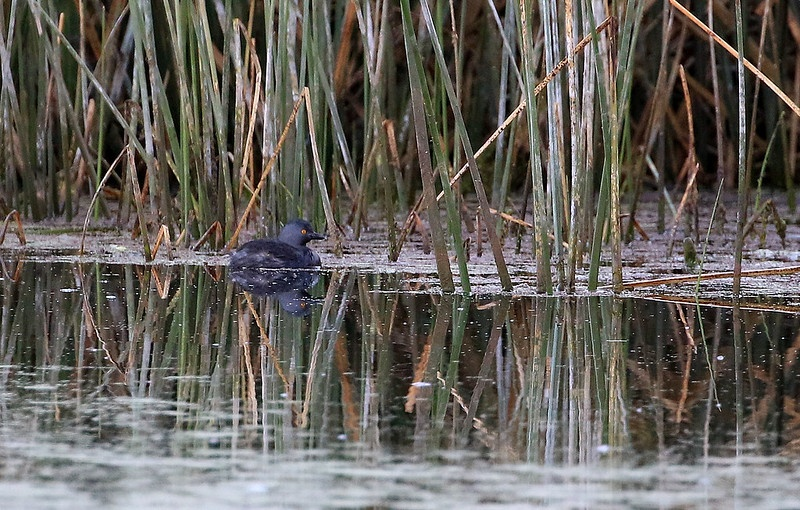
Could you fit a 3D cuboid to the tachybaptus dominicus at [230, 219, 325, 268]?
[{"bbox_3d":[-0.747,-0.010,7.179,0.596,0.429,0.369,1,-7,-24],"label":"tachybaptus dominicus"}]
